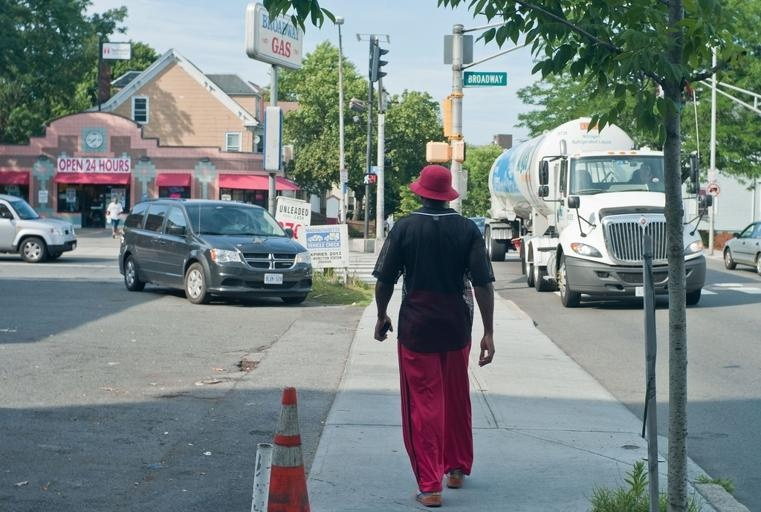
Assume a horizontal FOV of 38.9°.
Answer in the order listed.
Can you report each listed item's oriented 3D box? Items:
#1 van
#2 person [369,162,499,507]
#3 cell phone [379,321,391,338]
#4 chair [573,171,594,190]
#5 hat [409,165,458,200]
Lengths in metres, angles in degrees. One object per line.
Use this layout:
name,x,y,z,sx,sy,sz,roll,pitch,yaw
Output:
van,-3.525,-0.164,22.002,1.961,1.588,3.828,4,-3,-36
person,0.567,0.771,11.247,1.058,3.398,0.889,-5,6,-34
cell phone,0.052,0.799,11.383,0.079,0.214,0.086,11,14,-9
chair,4.216,-1.586,22.498,0.374,0.401,0.208,-1,5,14
hat,0.551,-0.742,11.352,0.372,0.221,0.431,7,16,-6
